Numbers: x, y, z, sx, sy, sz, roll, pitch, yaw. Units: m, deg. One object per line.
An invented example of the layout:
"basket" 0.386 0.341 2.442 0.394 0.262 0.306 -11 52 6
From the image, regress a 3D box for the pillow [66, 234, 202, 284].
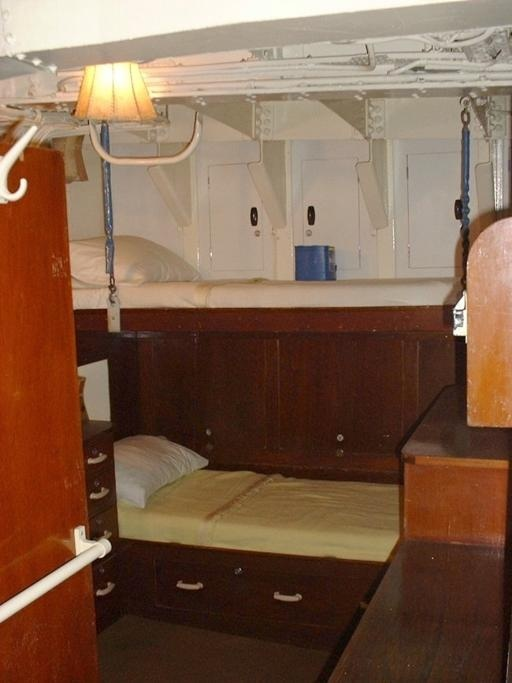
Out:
"pillow" -0.670 -0.447 3.561 0.435 0.151 0.532 9 3 36

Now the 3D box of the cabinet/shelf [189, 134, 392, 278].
"cabinet/shelf" 0.345 -1.124 4.928 1.322 1.165 0.497 2 23 13

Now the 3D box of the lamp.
"lamp" -0.445 -0.801 1.998 0.295 0.177 0.300 -7 13 -34
